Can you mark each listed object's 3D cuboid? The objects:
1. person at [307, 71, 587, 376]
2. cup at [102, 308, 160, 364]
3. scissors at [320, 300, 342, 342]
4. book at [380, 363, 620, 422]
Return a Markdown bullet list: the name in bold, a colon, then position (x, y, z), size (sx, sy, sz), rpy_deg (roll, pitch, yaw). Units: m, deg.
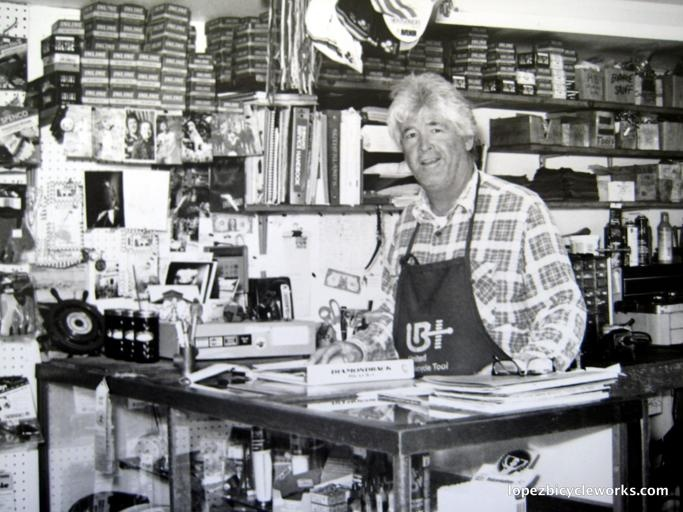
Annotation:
- **person**: position (0.433, -0.149, 2.947), size (1.000, 0.852, 0.562), rpy_deg (0, 0, 44)
- **cup**: position (-0.893, 0.345, 3.403), size (0.208, 0.141, 0.078), rpy_deg (3, 4, 36)
- **scissors**: position (-0.062, 0.385, 4.694), size (0.046, 0.201, 0.199), rpy_deg (2, 0, 18)
- **book**: position (0.495, 0.397, 2.384), size (0.746, 0.107, 0.291), rpy_deg (0, 0, -5)
